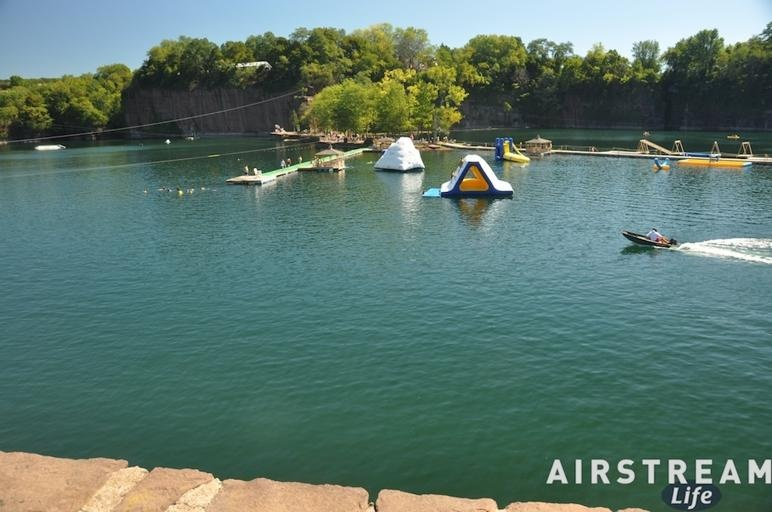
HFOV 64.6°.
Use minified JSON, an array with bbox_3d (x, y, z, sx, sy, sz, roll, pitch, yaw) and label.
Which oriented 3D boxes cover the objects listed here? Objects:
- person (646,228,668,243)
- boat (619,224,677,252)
[{"bbox_3d":[25.037,-1.970,57.703,1.505,0.993,2.993,2,16,1],"label":"person"},{"bbox_3d":[23.939,-1.607,57.945,5.954,2.092,2.183,11,20,33],"label":"boat"}]
